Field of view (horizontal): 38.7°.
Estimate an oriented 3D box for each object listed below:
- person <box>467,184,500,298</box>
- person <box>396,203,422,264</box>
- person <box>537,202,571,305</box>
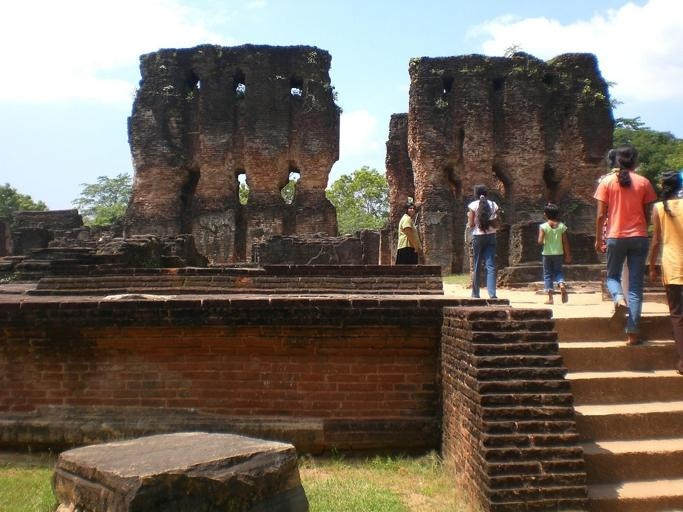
[{"bbox_3d":[2.241,-0.203,15.483,0.514,1.827,1.158,2,7,7],"label":"person"},{"bbox_3d":[1.120,-0.373,16.470,0.382,1.031,1.199,2,6,4],"label":"person"},{"bbox_3d":[3.533,-0.065,16.219,0.522,1.581,1.576,3,6,13],"label":"person"}]
